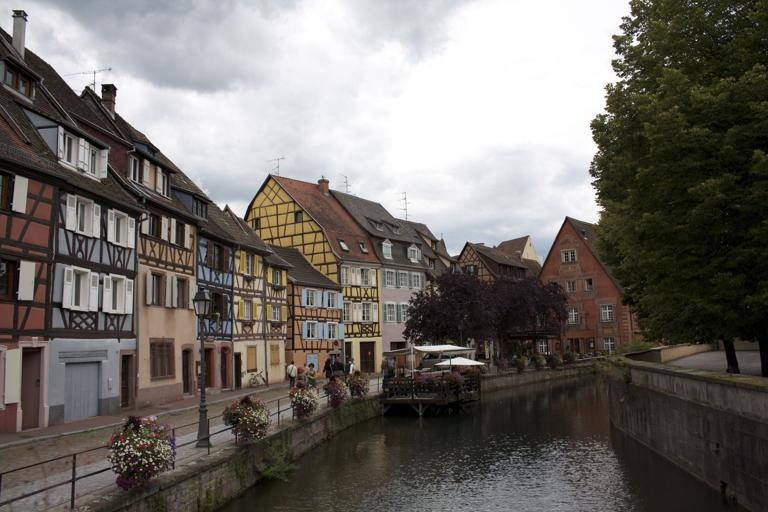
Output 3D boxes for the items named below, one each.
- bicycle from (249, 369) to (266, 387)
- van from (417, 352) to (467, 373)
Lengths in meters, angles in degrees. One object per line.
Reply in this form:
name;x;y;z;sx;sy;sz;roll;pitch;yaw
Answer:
bicycle;-7.687;7.443;39.912;0.464;0.692;1.135;-19;-10;10
van;4.028;7.721;48.085;2.968;1.302;2.313;2;-9;-10
